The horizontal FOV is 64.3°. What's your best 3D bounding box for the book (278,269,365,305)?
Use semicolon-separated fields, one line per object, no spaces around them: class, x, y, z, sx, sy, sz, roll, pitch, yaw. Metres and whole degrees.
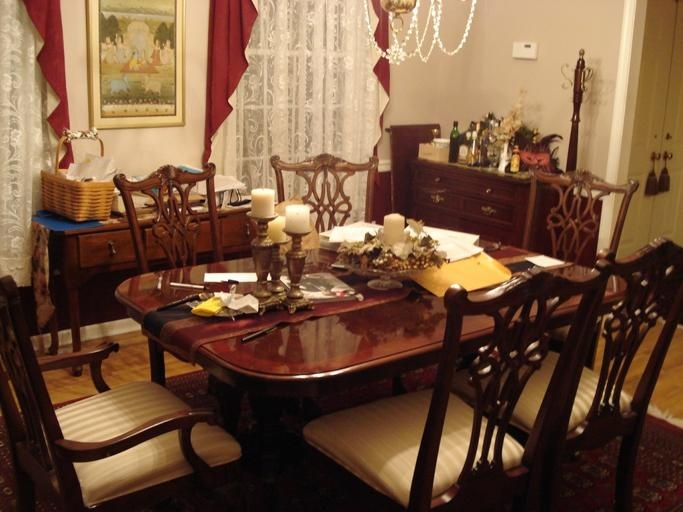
book;-0.074;0.125;2.147;0.241;0.037;0.328;-10;21;-24
